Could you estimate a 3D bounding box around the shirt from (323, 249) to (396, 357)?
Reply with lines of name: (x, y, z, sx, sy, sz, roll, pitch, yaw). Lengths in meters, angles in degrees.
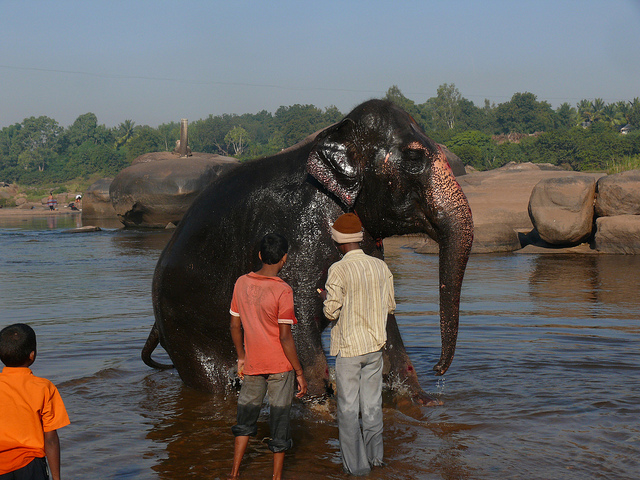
shirt: (0.400, 0.625, 11.351, 0.730, 1.061, 0.294, -2, 6, -3)

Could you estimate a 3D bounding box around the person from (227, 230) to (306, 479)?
person: (-0.557, 1.138, 11.183, 0.795, 2.381, 0.417, -2, 6, -1)

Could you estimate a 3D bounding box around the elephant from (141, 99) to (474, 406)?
elephant: (0.009, 0.421, 12.690, 4.644, 3.163, 1.821, -13, -17, 37)

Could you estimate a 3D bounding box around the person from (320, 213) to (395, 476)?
person: (0.395, 1.030, 11.324, 0.628, 2.562, 0.476, 0, 6, 12)
